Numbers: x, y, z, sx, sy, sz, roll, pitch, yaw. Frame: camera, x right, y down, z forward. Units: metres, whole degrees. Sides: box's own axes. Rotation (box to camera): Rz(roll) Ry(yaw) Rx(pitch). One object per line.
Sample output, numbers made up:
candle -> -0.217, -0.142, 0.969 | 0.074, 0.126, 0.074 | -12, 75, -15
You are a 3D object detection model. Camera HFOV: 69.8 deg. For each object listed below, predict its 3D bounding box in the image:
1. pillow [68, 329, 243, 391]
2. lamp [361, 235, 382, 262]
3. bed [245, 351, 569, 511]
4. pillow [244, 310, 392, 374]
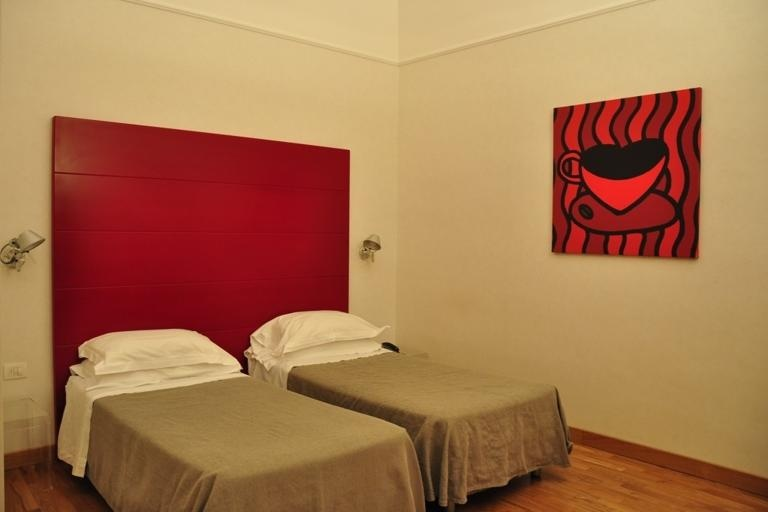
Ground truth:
pillow -> -1.687, 0.746, 4.020 | 0.650, 0.182, 0.557 | 0, 8, -29
lamp -> -0.147, -0.078, 5.453 | 0.168, 0.267, 0.195 | 27, 21, -10
bed -> 0.152, 1.077, 4.118 | 1.025, 0.414, 1.512 | -1, 0, -38
pillow -> -0.572, 0.659, 4.751 | 0.816, 0.242, 0.569 | -2, -3, -31
